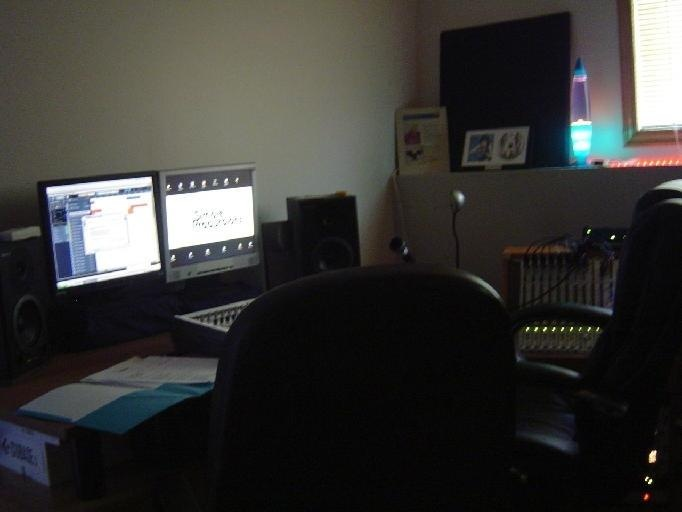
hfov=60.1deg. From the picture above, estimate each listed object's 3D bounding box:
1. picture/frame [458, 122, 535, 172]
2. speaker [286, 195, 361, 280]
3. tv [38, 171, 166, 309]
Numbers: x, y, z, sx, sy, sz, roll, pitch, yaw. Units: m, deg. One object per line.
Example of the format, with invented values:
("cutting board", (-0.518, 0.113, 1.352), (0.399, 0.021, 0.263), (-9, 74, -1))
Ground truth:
("picture/frame", (0.968, -0.663, 3.593), (0.353, 0.249, 0.050), (1, -25, 24))
("speaker", (-0.082, -0.075, 2.316), (0.346, 0.248, 0.142), (-2, -1, -39))
("tv", (-0.811, -0.056, 1.969), (0.414, 0.400, 0.041), (-15, 11, -41))
